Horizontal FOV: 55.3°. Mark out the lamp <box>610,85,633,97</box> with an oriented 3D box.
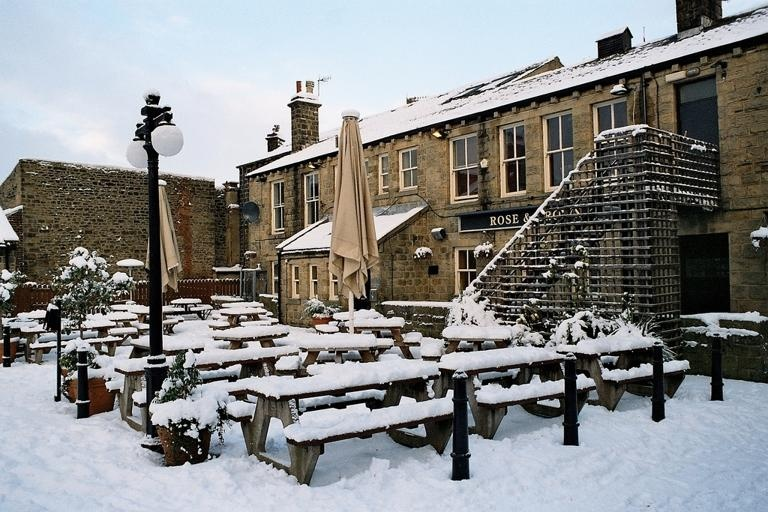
[{"bbox_3d":[6.201,-4.351,19.222,0.519,0.283,0.347,-3,-4,28],"label":"lamp"}]
